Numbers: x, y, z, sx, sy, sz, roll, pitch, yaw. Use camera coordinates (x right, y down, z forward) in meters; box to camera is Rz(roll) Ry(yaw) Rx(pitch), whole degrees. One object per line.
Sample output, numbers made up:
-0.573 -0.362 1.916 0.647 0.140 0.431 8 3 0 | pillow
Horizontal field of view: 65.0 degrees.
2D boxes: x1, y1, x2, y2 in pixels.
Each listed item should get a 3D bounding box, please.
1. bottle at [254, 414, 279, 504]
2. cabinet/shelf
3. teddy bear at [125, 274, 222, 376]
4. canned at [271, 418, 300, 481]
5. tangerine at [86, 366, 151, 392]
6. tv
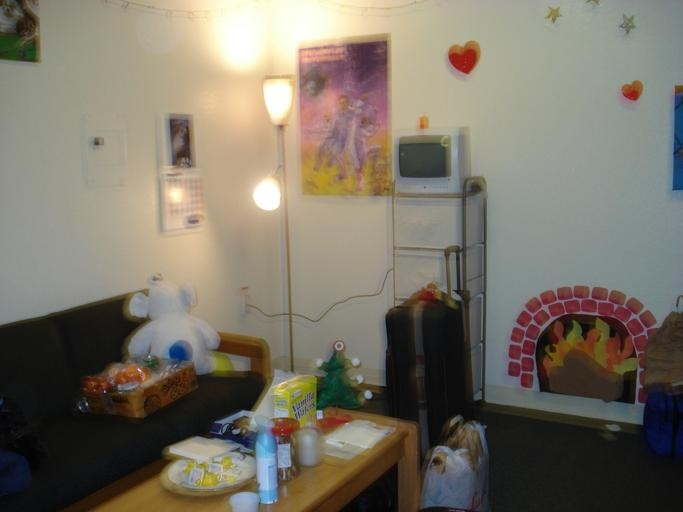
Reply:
-0.287 0.764 2.053 0.087 0.318 0.127 -2 8 -8 | bottle
0.701 0.506 3.694 0.395 1.147 0.354 -14 -6 33 | cabinet/shelf
-1.006 0.435 3.276 0.577 0.657 0.388 -6 -5 -41 | teddy bear
-0.238 0.775 2.148 0.110 0.208 0.122 7 -16 -32 | canned
-1.172 0.633 2.781 0.154 0.068 0.215 -4 -1 36 | tangerine
0.561 -0.546 3.660 0.482 0.514 0.400 -1 -17 10 | tv
